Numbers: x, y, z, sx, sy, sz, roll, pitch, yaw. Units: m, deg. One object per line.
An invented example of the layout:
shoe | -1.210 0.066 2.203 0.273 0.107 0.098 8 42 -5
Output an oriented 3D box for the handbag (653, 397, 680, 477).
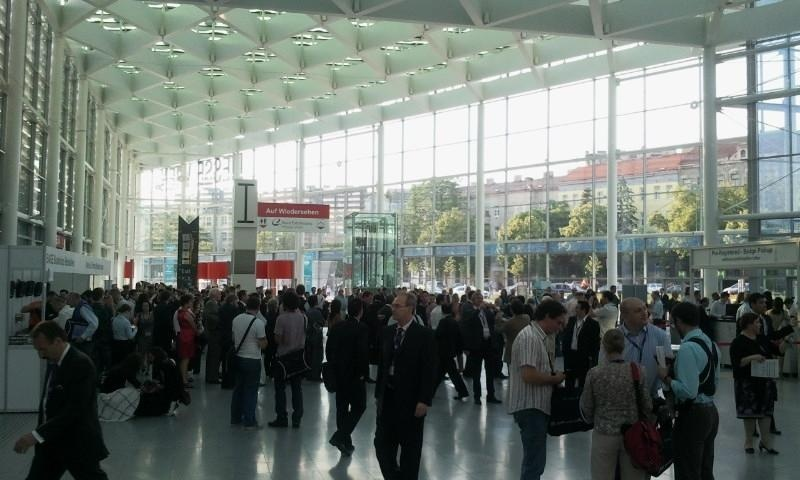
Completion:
handbag | 5.801 4.183 16.104 0.377 1.348 1.556 0 7 25

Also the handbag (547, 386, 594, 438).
handbag | 3.672 3.695 16.014 0.871 0.997 0.367 0 -5 12

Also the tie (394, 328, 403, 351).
tie | -0.002 2.204 16.526 0.212 0.468 0.054 0 -5 8

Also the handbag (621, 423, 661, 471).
handbag | 4.986 4.269 15.300 0.563 0.925 0.870 -7 -6 -36

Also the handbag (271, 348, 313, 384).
handbag | -2.893 3.283 19.888 1.318 0.854 0.708 -14 -3 -15
